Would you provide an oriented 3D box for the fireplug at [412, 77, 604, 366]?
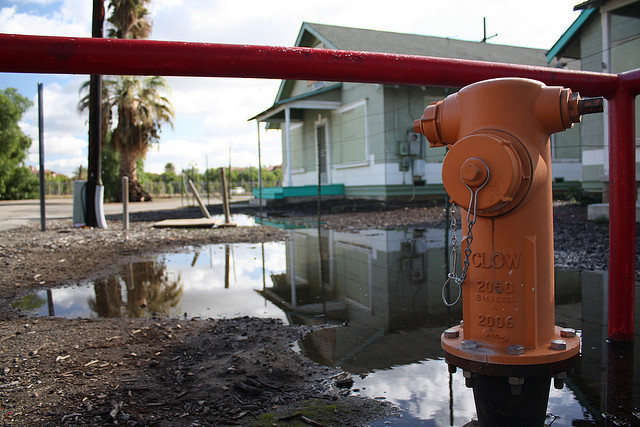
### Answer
[{"bbox_3d":[1.056,0.026,3.304,0.937,1.606,0.512,2,9,14],"label":"fireplug"}]
